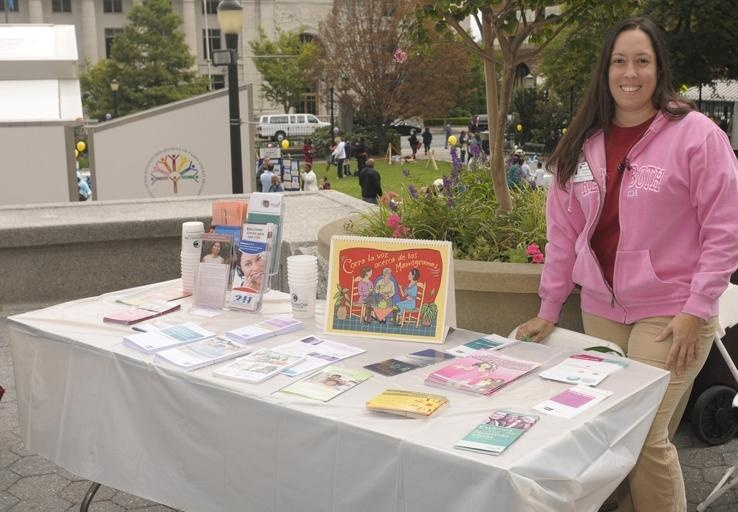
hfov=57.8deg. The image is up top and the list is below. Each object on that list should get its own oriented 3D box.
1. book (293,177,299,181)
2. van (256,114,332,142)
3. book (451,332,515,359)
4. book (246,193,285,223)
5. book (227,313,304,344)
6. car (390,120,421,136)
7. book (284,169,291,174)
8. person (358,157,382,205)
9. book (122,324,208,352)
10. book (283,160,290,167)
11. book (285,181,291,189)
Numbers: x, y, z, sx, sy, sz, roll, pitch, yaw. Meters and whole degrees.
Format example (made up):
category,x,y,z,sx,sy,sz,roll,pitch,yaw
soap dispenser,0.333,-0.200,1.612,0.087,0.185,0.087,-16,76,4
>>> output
category,x,y,z,sx,sy,sz,roll,pitch,yaw
book,-2.637,-2.808,23.987,0.313,0.109,0.068,7,13,42
van,-5.785,-9.156,47.506,4.153,1.820,2.855,-3,10,-13
book,0.642,0.522,3.877,0.340,0.038,0.195,-15,8,-20
book,-0.712,-0.333,4.596,0.252,0.200,0.212,-3,10,-12
book,-0.621,0.444,4.068,0.178,0.050,0.323,4,10,40
car,2.768,-10.127,52.852,2.731,0.970,1.828,6,12,3
book,-2.960,-3.086,24.239,0.195,0.212,0.049,1,2,23
person,0.040,-1.793,18.681,0.634,1.907,0.529,14,28,28
book,-1.181,0.480,3.955,0.194,0.042,0.281,7,10,35
book,-2.968,-3.369,24.291,0.249,0.258,0.852,-3,10,-13
book,-2.952,-2.573,24.270,0.266,0.289,0.040,6,10,26
